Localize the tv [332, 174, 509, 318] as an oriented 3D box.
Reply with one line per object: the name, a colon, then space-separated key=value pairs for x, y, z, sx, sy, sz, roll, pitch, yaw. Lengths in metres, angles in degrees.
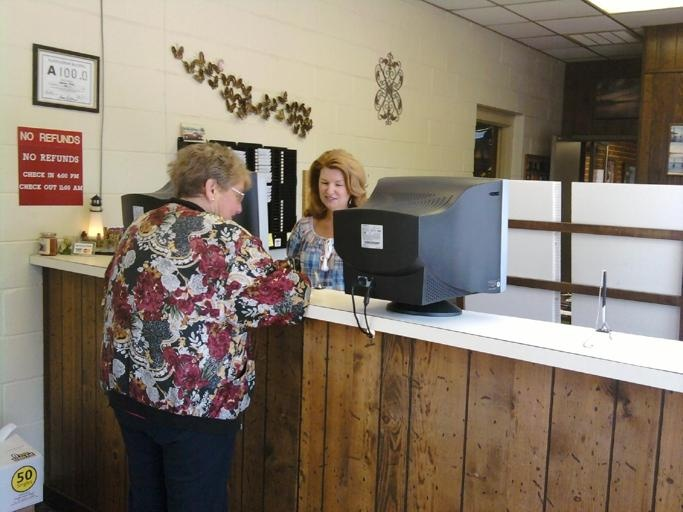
tv: x=0.277 y=-0.042 z=2.212 sx=0.399 sy=0.542 sz=0.563 roll=-4 pitch=8 yaw=-40

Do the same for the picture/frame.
picture/frame: x=-1.617 y=-1.036 z=3.388 sx=0.035 sy=0.402 sz=0.378 roll=7 pitch=10 yaw=43
